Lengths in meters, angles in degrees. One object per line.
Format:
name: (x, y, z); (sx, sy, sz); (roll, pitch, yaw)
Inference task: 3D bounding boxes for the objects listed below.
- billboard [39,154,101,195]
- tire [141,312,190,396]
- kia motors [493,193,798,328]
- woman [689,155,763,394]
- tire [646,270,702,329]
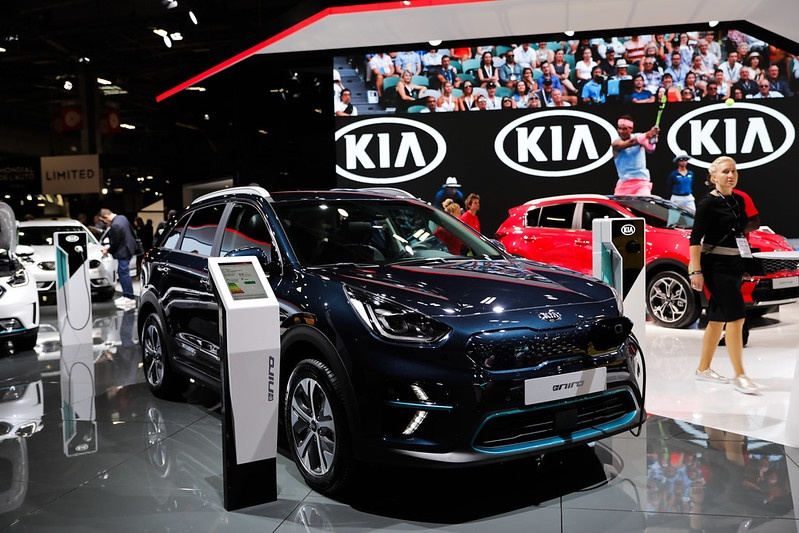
billboard: (-10.749, -3.014, 17.268); (1.567, 0.962, 0.200); (0, 3, -4)
tire: (-2.356, 0.881, 5.347); (0.294, 0.732, 0.786); (8, -26, -34)
kia motors: (4.028, -0.063, 8.909); (4.324, 1.774, 2.386); (3, 3, 40)
woman: (3.462, 0.080, 5.582); (0.649, 2.418, 0.478); (5, 11, 35)
tire: (4.099, 0.485, 7.782); (0.312, 0.862, 0.843); (-2, 10, -35)
